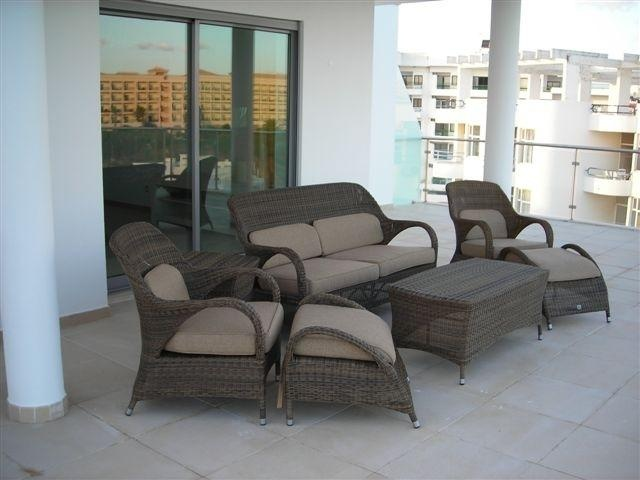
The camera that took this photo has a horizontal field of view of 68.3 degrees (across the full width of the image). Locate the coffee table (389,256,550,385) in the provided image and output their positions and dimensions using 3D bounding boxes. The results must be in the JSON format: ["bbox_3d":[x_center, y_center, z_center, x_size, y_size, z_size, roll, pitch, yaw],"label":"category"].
[{"bbox_3d":[1.193,0.564,3.778,0.810,0.548,1.293,7,14,44],"label":"coffee table"}]

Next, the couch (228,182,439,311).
[{"bbox_3d":[0.166,0.008,4.530,1.805,0.901,1.154,-12,19,-41],"label":"couch"}]

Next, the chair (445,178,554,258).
[{"bbox_3d":[1.920,-0.171,5.269,0.909,0.858,1.015,-4,13,-19],"label":"chair"}]

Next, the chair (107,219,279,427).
[{"bbox_3d":[-0.736,0.449,3.067,0.985,1.081,0.900,2,13,6],"label":"chair"}]

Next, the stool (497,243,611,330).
[{"bbox_3d":[2.432,0.475,4.574,0.700,0.575,0.994,0,-8,27],"label":"stool"}]

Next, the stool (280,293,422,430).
[{"bbox_3d":[0.213,0.770,3.056,0.861,0.535,1.026,-4,1,5],"label":"stool"}]
